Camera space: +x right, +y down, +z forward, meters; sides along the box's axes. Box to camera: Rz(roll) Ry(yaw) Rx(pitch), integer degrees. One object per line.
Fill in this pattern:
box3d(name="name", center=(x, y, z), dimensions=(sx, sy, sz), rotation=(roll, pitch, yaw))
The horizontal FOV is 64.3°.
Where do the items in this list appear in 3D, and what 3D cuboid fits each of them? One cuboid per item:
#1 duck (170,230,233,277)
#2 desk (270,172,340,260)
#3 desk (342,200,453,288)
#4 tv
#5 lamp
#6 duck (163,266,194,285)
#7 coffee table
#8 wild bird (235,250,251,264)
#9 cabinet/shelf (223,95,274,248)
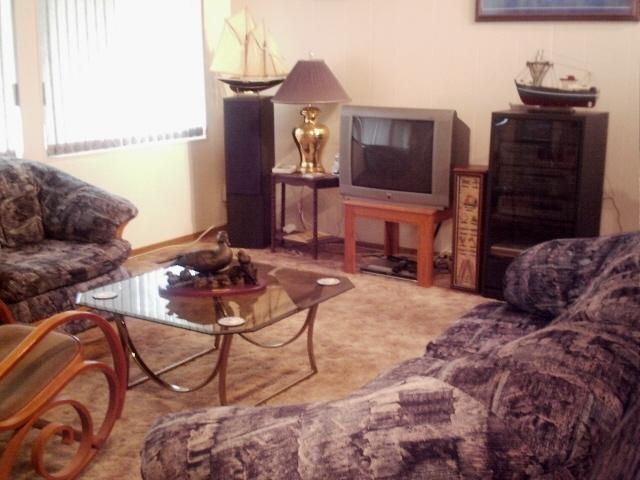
box3d(name="duck", center=(-0.617, 0.054, 2.709), dimensions=(0.323, 0.247, 0.173), rotation=(4, 23, 9))
box3d(name="desk", center=(-0.151, -0.249, 4.875), dimensions=(0.561, 0.710, 0.630), rotation=(3, 0, 35))
box3d(name="desk", center=(0.641, -0.125, 4.279), dimensions=(0.791, 0.580, 0.791), rotation=(7, 14, 28))
box3d(name="tv", center=(0.617, -0.704, 4.172), dimensions=(0.974, 0.784, 0.223), rotation=(10, 19, 34))
box3d(name="lamp", center=(-0.087, -1.150, 4.752), dimensions=(0.647, 1.030, 0.466), rotation=(-6, 17, -18))
box3d(name="duck", center=(-0.750, 0.189, 2.682), dimensions=(0.105, 0.048, 0.140), rotation=(-3, 9, -21))
box3d(name="coffee table", center=(-0.524, 0.522, 2.804), dimensions=(1.249, 0.573, 1.300), rotation=(5, 12, 15))
box3d(name="wild bird", center=(-0.405, 0.086, 2.664), dimensions=(0.064, 0.037, 0.082), rotation=(13, -10, -28))
box3d(name="cabinet/shelf", center=(-0.723, -0.727, 5.160), dimensions=(0.499, 1.335, 0.481), rotation=(-5, 23, -18))
